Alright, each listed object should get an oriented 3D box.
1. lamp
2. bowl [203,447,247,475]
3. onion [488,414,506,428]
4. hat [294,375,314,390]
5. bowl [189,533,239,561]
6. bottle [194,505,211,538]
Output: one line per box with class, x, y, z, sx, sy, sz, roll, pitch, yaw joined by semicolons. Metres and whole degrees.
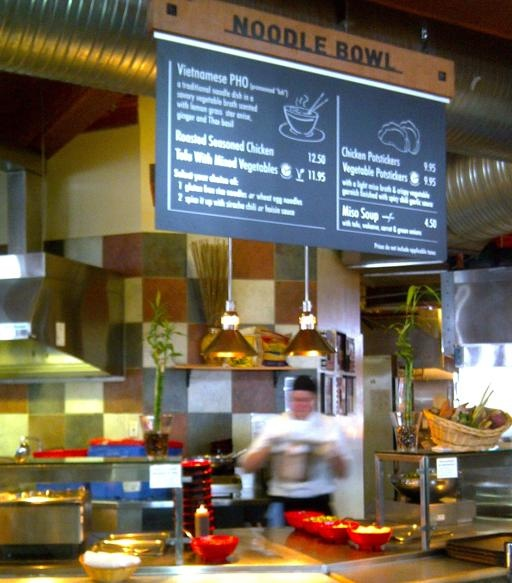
lamp;0.031;0.034;5.123;0.724;0.853;0.283;1;-11;-9
bowl;-0.111;0.966;5.019;0.372;0.139;0.234;-3;-6;6
onion;1.048;0.552;3.784;0.062;0.076;0.065;20;-4;26
hat;0.243;0.446;4.366;0.066;0.080;0.085;0;-23;7
bowl;-0.152;0.931;3.181;0.168;0.076;0.216;0;-7;-5
bottle;-0.204;0.856;3.280;0.059;0.109;0.152;0;-7;-4
